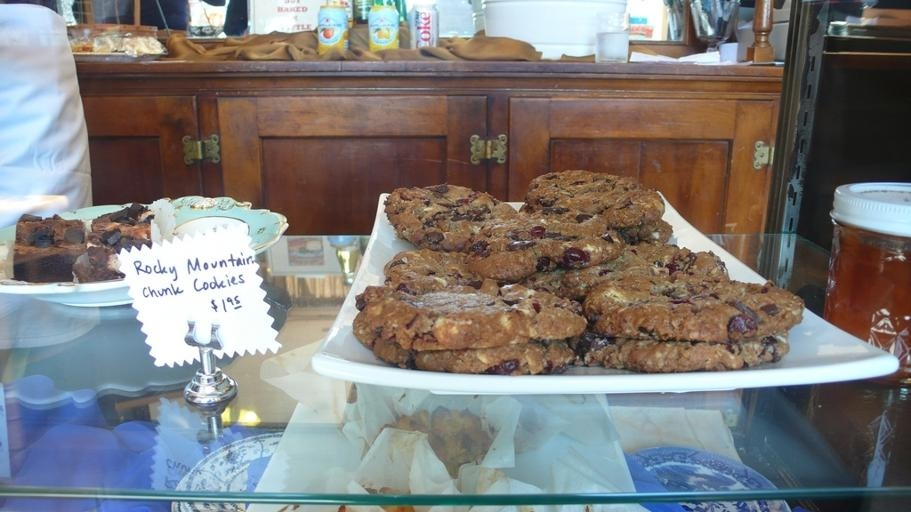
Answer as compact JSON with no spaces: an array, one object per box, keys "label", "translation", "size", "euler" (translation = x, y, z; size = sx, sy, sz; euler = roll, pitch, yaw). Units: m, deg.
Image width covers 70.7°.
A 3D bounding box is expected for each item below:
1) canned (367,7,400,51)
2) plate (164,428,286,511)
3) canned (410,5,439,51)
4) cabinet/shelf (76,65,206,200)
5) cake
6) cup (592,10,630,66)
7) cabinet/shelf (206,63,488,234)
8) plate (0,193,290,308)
[{"label":"canned","translation":[-0.302,-0.959,2.676],"size":[0.126,0.176,0.162],"euler":[-5,20,-5]},{"label":"plate","translation":[-0.418,0.418,1.204],"size":[0.193,0.028,0.179],"euler":[-17,39,-24]},{"label":"canned","translation":[-0.132,-0.985,2.760],"size":[0.125,0.157,0.217],"euler":[-4,19,-3]},{"label":"cabinet/shelf","translation":[-1.244,-0.519,2.553],"size":[0.651,0.533,0.330],"euler":[-2,10,-10]},{"label":"cake","translation":[-0.910,-0.022,1.510],"size":[0.264,0.082,0.241],"euler":[1,24,-14]},{"label":"cup","translation":[0.668,-0.894,2.650],"size":[0.126,0.182,0.215],"euler":[11,19,32]},{"label":"cabinet/shelf","translation":[-0.423,-0.446,2.604],"size":[1.122,0.602,0.558],"euler":[0,5,-2]},{"label":"plate","translation":[-0.701,-0.036,1.612],"size":[0.450,0.053,0.416],"euler":[3,17,7]}]
